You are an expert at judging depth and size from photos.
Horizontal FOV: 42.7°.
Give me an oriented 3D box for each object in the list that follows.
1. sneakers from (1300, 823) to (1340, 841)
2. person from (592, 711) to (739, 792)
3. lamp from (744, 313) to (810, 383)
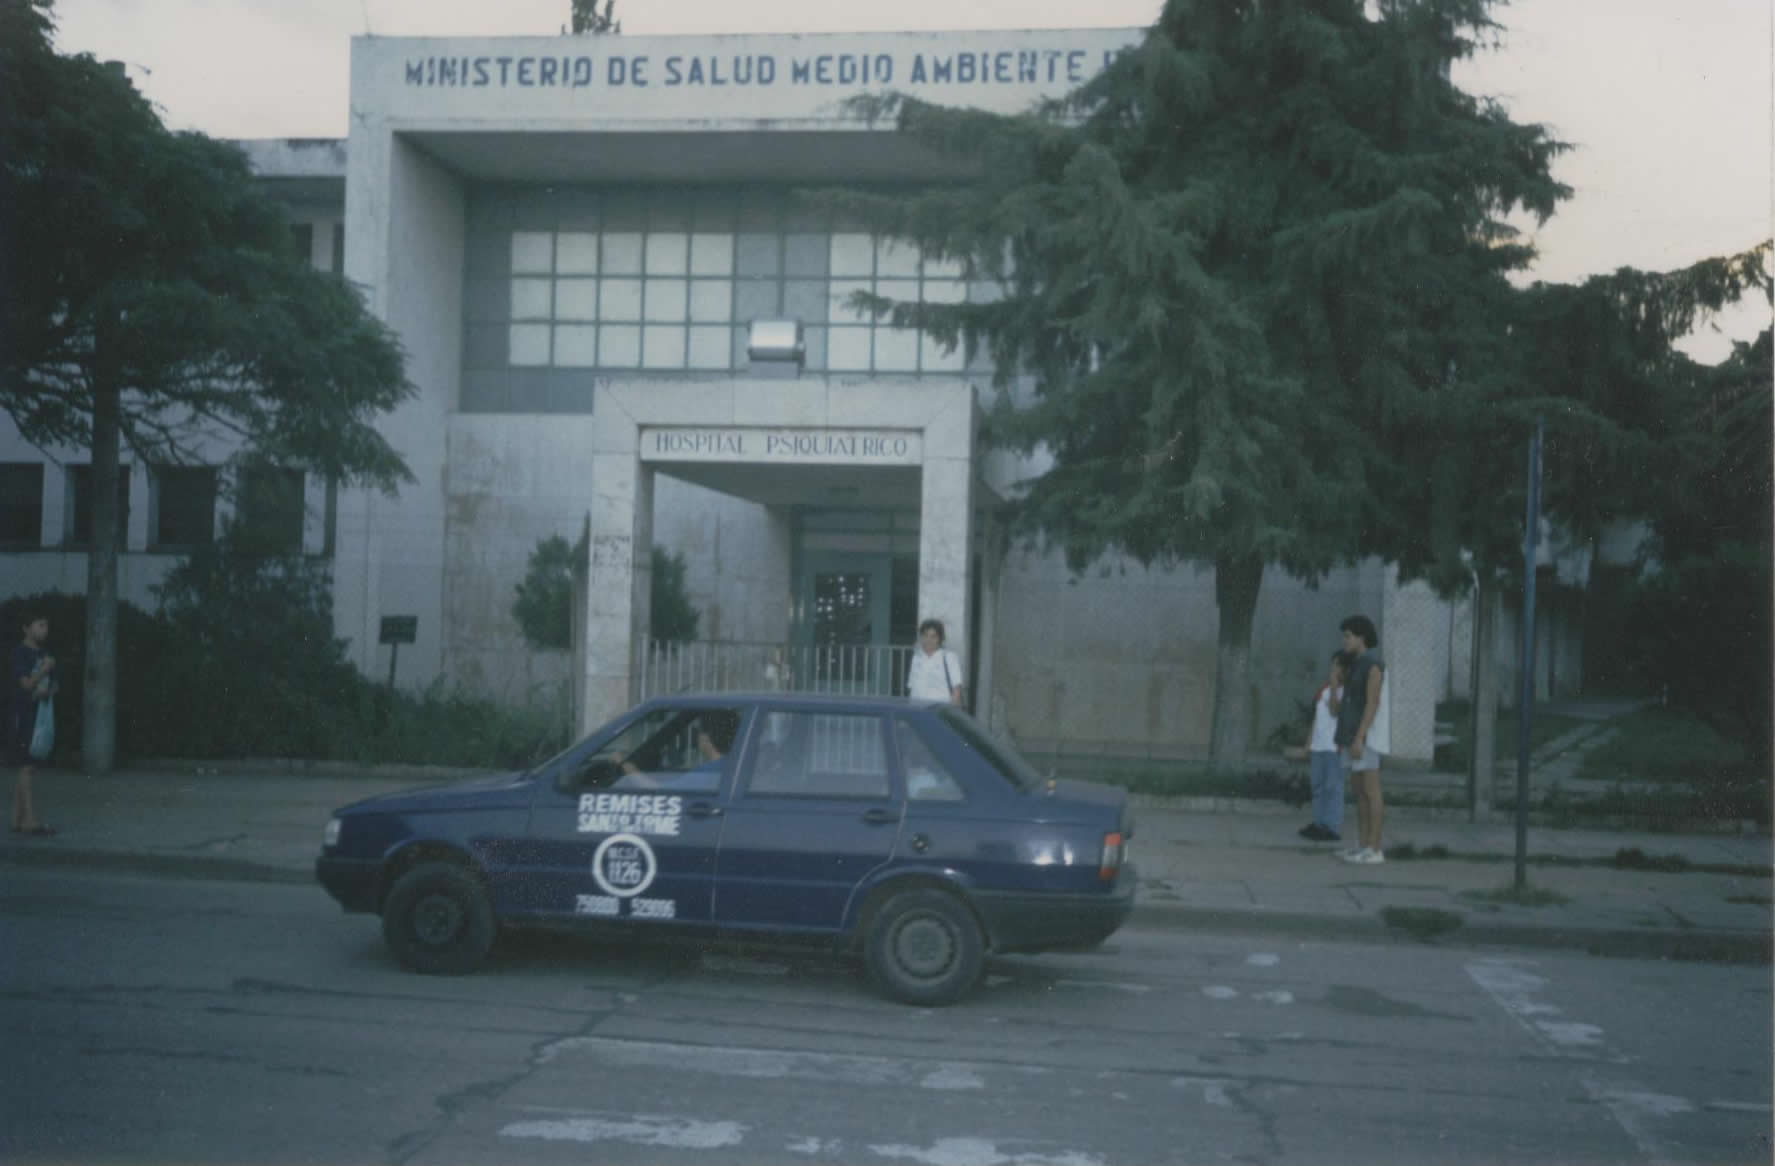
[{"bbox_3d":[5.668,3.235,29.634,0.493,0.241,0.183,9,11,38],"label":"sneakers"},{"bbox_3d":[-2.292,1.758,23.813,1.247,0.669,0.814,2,3,3],"label":"person"},{"bbox_3d":[-1.986,-4.603,43.306,1.377,1.607,1.179,0,-3,4],"label":"lamp"}]
